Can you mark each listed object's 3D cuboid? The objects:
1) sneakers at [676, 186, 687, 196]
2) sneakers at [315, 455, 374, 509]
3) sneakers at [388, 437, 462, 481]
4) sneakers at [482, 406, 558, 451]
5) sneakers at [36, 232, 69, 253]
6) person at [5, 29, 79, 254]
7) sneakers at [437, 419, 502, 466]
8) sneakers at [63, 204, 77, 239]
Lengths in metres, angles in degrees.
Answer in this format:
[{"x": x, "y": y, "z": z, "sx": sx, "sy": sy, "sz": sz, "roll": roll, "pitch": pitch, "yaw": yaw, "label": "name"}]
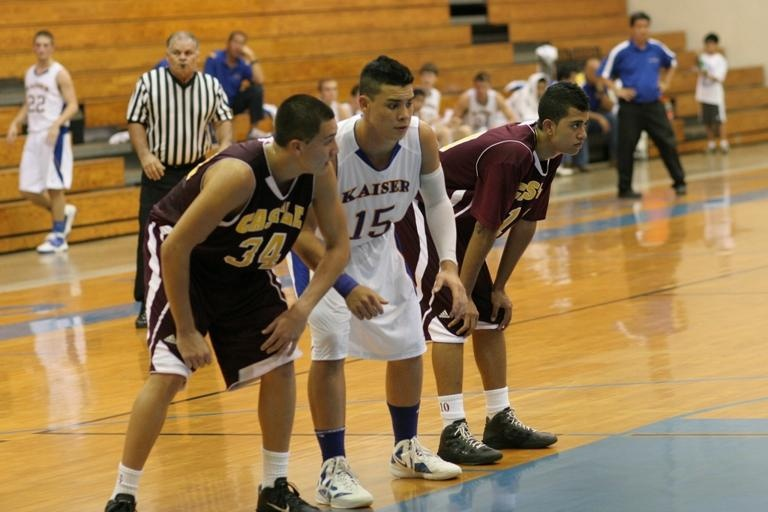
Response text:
[{"x": 4.032, "y": -0.899, "z": 10.818, "sx": 0.161, "sy": 0.120, "sz": 0.154, "roll": 0, "pitch": 4, "yaw": 25, "label": "sneakers"}, {"x": -0.165, "y": 0.939, "z": 3.327, "sx": 0.252, "sy": 0.165, "sz": 0.149, "roll": -1, "pitch": -3, "yaw": 39, "label": "sneakers"}, {"x": 0.164, "y": 0.902, "z": 3.549, "sx": 0.341, "sy": 0.179, "sz": 0.139, "roll": -1, "pitch": 0, "yaw": 13, "label": "sneakers"}, {"x": 0.606, "y": 0.821, "z": 3.847, "sx": 0.437, "sy": 0.246, "sz": 0.144, "roll": 0, "pitch": 4, "yaw": 18, "label": "sneakers"}, {"x": -3.828, "y": -0.156, "z": 9.169, "sx": 0.202, "sy": 0.172, "sz": 0.338, "roll": 0, "pitch": -2, "yaw": 15, "label": "sneakers"}, {"x": -3.727, "y": -1.238, "z": 8.848, "sx": 0.792, "sy": 2.465, "sz": 0.485, "roll": 0, "pitch": 13, "yaw": 16, "label": "person"}, {"x": 0.392, "y": 0.850, "z": 3.593, "sx": 0.359, "sy": 0.213, "sz": 0.131, "roll": -2, "pitch": -3, "yaw": 21, "label": "sneakers"}, {"x": -3.604, "y": -0.398, "z": 9.242, "sx": 0.145, "sy": 0.422, "sz": 0.178, "roll": 11, "pitch": 2, "yaw": -19, "label": "sneakers"}]
